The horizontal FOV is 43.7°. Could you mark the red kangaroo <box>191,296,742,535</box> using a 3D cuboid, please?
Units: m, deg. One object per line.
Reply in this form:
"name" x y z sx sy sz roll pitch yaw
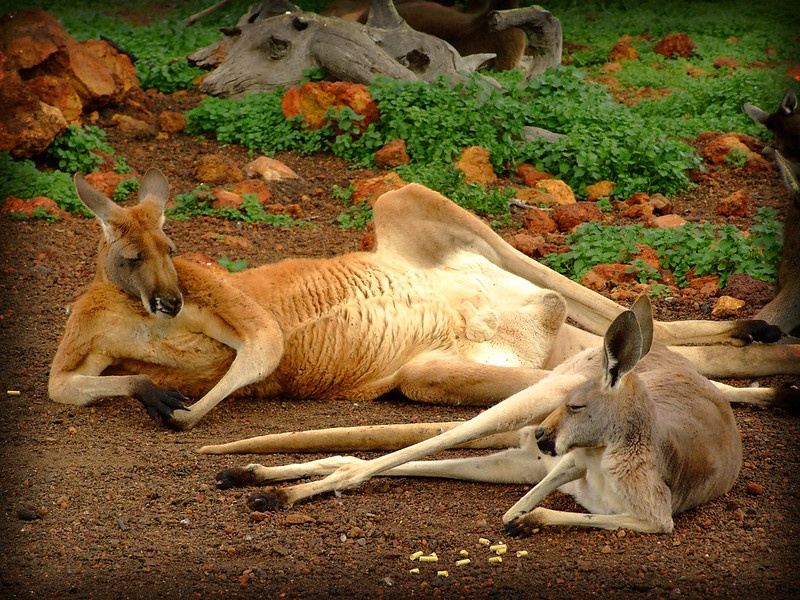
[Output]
"red kangaroo" 0.677 0.855 5.921 2.462 1.007 1.670 3 3 -30
